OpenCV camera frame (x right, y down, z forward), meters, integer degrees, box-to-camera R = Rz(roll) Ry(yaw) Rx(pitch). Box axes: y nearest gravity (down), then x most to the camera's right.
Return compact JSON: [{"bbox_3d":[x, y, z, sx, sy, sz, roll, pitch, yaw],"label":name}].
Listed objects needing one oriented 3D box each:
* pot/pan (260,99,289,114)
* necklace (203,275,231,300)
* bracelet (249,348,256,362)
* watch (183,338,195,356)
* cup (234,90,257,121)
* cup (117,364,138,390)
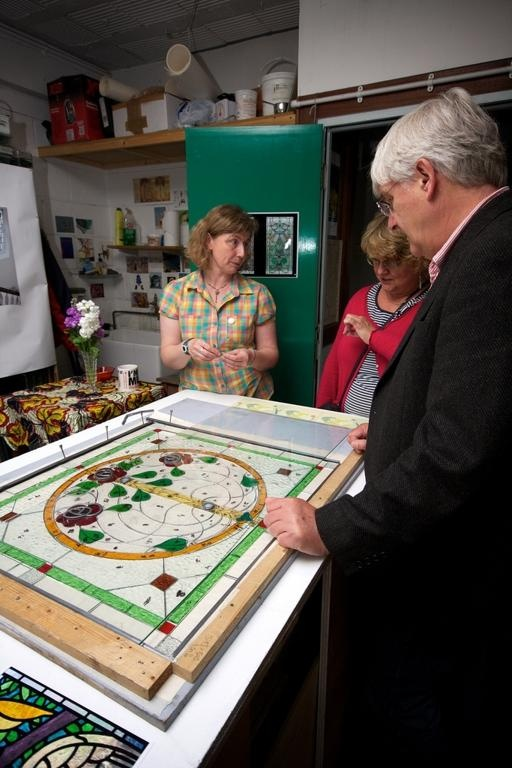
[{"bbox_3d":[0.093,-1.406,2.704,0.112,0.078,0.096,12,36,18],"label":"pot/pan"},{"bbox_3d":[-0.150,-0.355,2.020,0.078,0.097,0.046,-1,-21,-7],"label":"necklace"},{"bbox_3d":[-0.008,-0.106,1.863,0.011,0.038,0.040,4,-9,-14],"label":"bracelet"},{"bbox_3d":[-0.244,-0.127,1.820,0.044,0.066,0.058,0,7,-29],"label":"watch"},{"bbox_3d":[-0.055,-1.472,2.796,0.123,0.165,0.188,-5,20,2],"label":"cup"},{"bbox_3d":[-0.630,-0.030,2.645,0.130,0.125,0.100,-5,9,-30],"label":"cup"}]
